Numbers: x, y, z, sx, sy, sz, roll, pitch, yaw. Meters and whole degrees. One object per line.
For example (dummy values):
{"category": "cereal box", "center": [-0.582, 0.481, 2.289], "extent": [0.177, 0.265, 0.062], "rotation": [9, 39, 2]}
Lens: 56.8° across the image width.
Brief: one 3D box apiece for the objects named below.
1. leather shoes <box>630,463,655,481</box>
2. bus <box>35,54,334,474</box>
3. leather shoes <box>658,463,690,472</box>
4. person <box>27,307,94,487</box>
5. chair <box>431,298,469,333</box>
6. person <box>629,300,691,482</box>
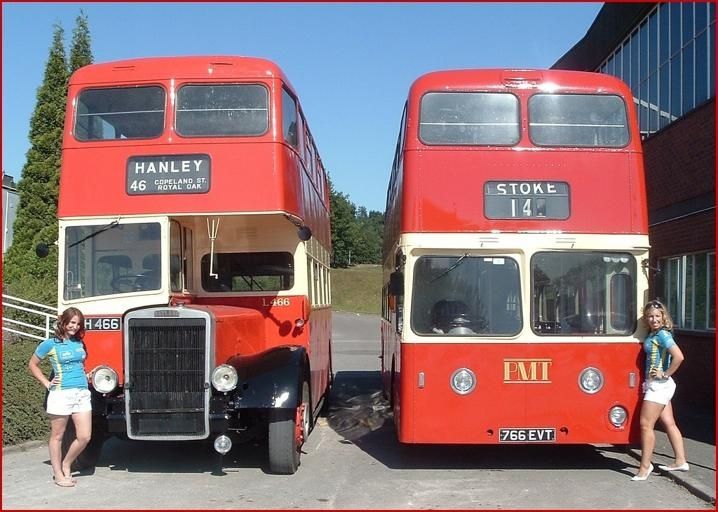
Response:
{"category": "leather shoes", "center": [4.226, 3.192, 9.873], "extent": [0.480, 0.218, 0.161], "rotation": [-3, -7, -40]}
{"category": "bus", "center": [-2.586, 0.037, 10.668], "extent": [4.545, 6.648, 2.508], "rotation": [1, -2, -28]}
{"category": "leather shoes", "center": [4.696, 3.177, 9.964], "extent": [0.430, 0.171, 0.166], "rotation": [-2, -7, 18]}
{"category": "person", "center": [-4.202, 2.018, 9.453], "extent": [0.740, 2.554, 0.368], "rotation": [1, -2, -27]}
{"category": "chair", "center": [1.338, 0.880, 9.819], "extent": [0.368, 0.297, 0.586], "rotation": [-1, -14, 3]}
{"category": "person", "center": [4.415, 1.986, 9.815], "extent": [0.706, 2.632, 0.748], "rotation": [-1, -2, 27]}
